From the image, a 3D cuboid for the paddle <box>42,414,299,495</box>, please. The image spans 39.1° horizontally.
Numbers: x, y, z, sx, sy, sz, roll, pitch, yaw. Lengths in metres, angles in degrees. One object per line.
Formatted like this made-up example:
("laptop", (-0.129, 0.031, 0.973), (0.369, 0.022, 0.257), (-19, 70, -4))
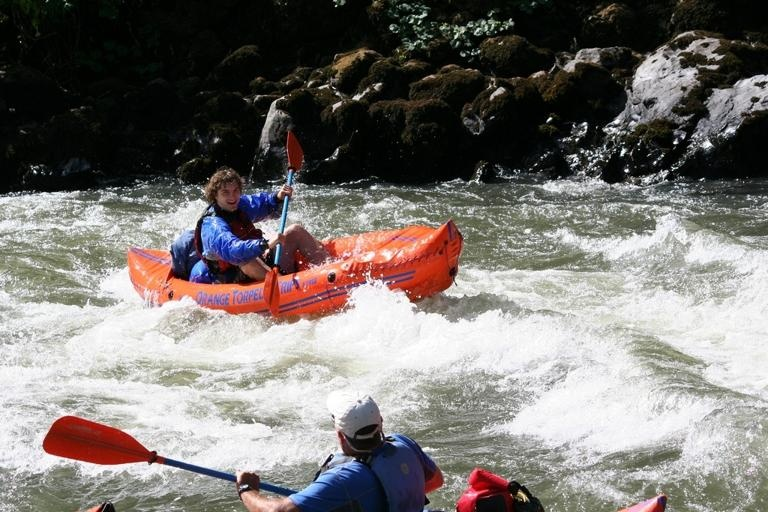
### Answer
("paddle", (-2.611, 2.718, 14.131), (0.286, 0.593, 4.272), (34, 1, 38))
